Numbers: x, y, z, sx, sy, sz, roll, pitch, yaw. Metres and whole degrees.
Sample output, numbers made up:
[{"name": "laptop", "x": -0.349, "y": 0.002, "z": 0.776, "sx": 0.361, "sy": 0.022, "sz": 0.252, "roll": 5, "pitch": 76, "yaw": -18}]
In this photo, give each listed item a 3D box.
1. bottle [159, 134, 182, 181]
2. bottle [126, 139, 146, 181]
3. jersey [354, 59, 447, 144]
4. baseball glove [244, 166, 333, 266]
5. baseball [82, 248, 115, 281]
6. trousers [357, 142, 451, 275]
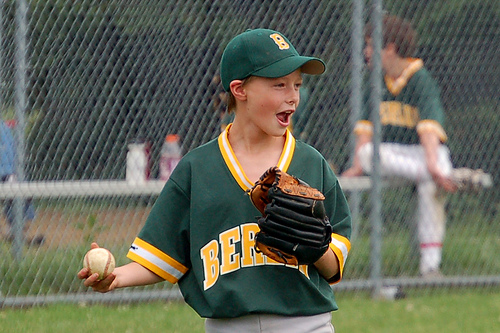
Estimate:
[{"name": "bottle", "x": -0.712, "y": -0.095, "z": 7.145, "sx": 0.188, "sy": 0.589, "sz": 0.177, "roll": 4, "pitch": 1, "yaw": 0}, {"name": "bottle", "x": -1.015, "y": -0.048, "z": 7.048, "sx": 0.145, "sy": 0.437, "sz": 0.139, "roll": 4, "pitch": 1, "yaw": 0}, {"name": "jersey", "x": 1.449, "y": -0.659, "z": 7.752, "sx": 0.801, "sy": 0.967, "sz": 0.500, "roll": 4, "pitch": 23, "yaw": 13}, {"name": "baseball glove", "x": 0.262, "y": 0.337, "z": 5.308, "sx": 0.557, "sy": 0.649, "sz": 0.169, "roll": -1, "pitch": -2, "yaw": -1}, {"name": "baseball", "x": -1.015, "y": 0.664, "z": 5.323, "sx": 0.199, "sy": 0.215, "sz": 0.112, "roll": 0, "pitch": -2, "yaw": -15}, {"name": "trousers", "x": 1.619, "y": 0.411, "z": 7.632, "sx": 0.693, "sy": 1.284, "sz": 0.131, "roll": 0, "pitch": -2, "yaw": -12}]
